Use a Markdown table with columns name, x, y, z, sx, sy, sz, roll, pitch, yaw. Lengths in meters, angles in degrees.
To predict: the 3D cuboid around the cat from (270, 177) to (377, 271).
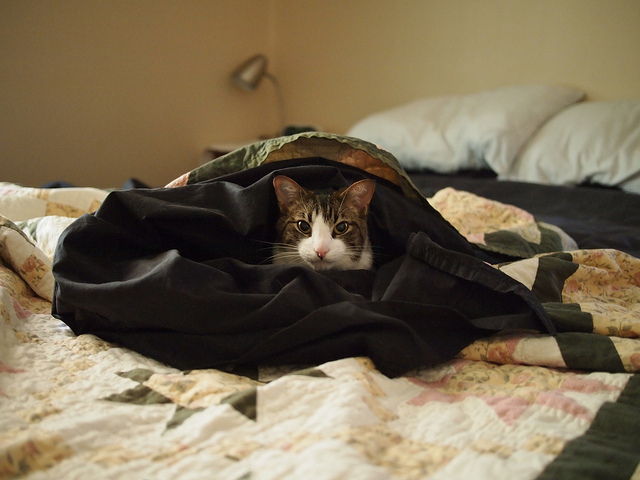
| name | x | y | z | sx | sy | sz | roll | pitch | yaw |
| --- | --- | --- | --- | --- | --- | --- | --- | --- | --- |
| cat | 0.027 | -0.048 | 1.961 | 0.288 | 0.342 | 0.461 | 2 | 7 | 8 |
